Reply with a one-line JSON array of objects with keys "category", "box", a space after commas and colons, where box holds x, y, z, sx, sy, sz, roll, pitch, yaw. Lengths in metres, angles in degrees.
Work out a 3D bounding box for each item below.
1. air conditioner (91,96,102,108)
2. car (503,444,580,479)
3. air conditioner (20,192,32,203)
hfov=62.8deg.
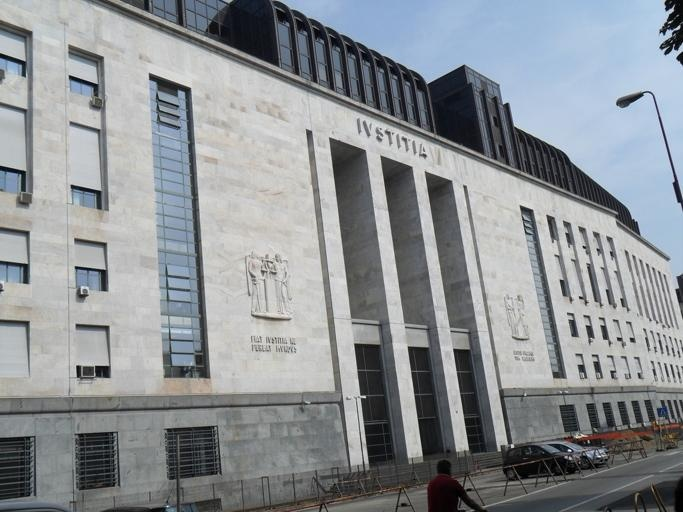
[{"category": "air conditioner", "box": [-15.270, -9.611, 35.056, 0.335, 0.634, 0.657, -11, -12, 31]}, {"category": "car", "box": [11.740, 12.221, 33.392, 3.966, 1.914, 3.082, -15, -21, 18]}, {"category": "air conditioner", "box": [-17.347, -3.195, 30.921, 0.272, 0.512, 0.531, -6, -14, 32]}]
